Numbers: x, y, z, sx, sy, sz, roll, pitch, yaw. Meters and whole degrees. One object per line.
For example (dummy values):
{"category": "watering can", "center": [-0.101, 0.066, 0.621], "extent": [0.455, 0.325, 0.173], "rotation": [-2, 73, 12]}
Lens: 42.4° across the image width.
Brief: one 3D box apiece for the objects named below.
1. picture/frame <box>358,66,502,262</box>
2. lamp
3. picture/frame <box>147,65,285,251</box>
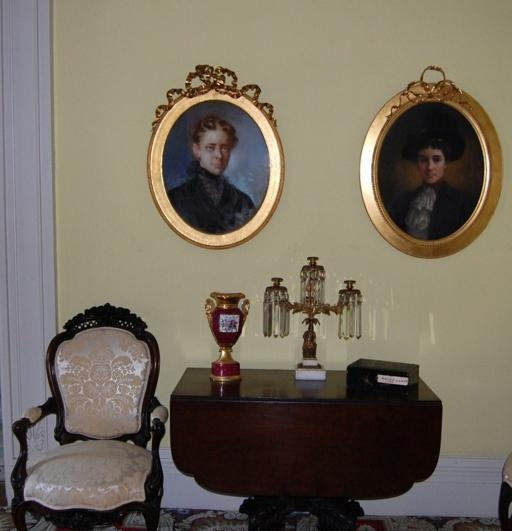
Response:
{"category": "picture/frame", "center": [1.028, -0.649, 3.861], "extent": [0.963, 1.468, 0.105], "rotation": [-2, 1, 2]}
{"category": "lamp", "center": [0.351, 0.303, 3.795], "extent": [0.627, 0.796, 0.218], "rotation": [0, 1, -1]}
{"category": "picture/frame", "center": [-0.238, -0.684, 3.866], "extent": [0.961, 1.378, 0.061], "rotation": [-1, 3, -4]}
